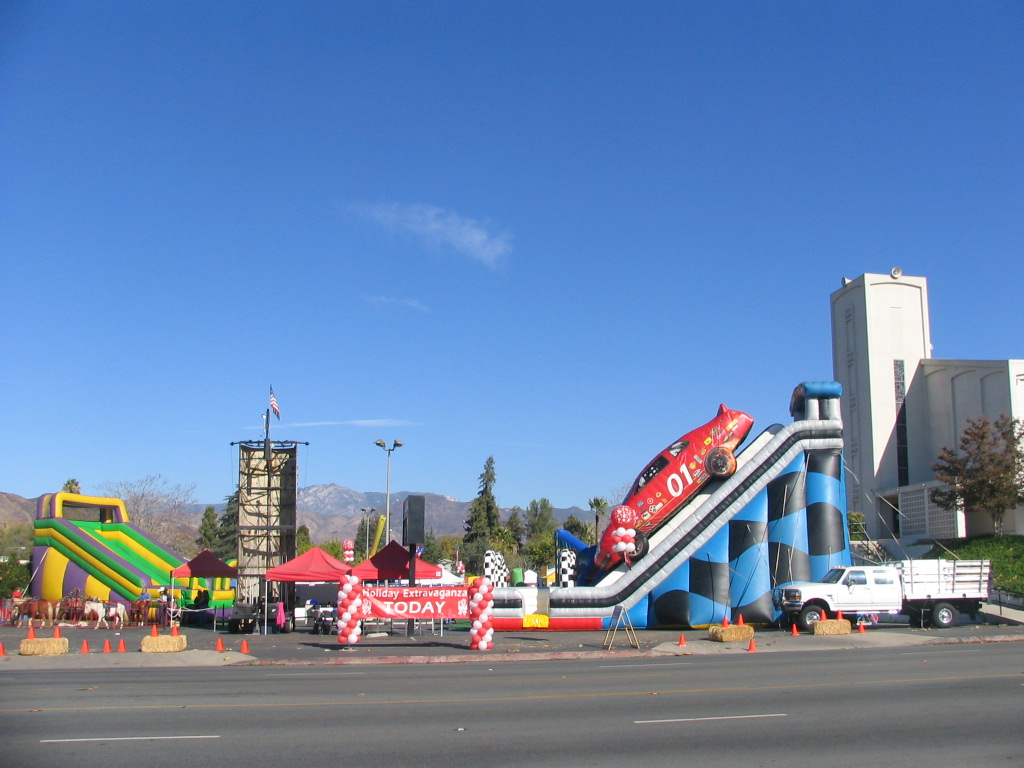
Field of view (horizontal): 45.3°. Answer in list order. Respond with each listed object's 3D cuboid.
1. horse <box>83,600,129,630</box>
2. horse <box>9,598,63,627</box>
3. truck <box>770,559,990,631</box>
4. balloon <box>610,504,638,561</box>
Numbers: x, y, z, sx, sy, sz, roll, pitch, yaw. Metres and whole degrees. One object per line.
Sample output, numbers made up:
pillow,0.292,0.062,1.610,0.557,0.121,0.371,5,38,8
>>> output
horse,-16.836,9.641,51.390,1.410,1.105,2.706,10,-13,-35
horse,-20.358,9.811,52.620,2.210,1.099,1.080,5,-11,-14
truck,13.731,7.742,45.063,7.362,2.956,2.316,6,-11,-18
balloon,4.195,5.580,46.286,0.853,2.124,1.251,-7,-14,42
